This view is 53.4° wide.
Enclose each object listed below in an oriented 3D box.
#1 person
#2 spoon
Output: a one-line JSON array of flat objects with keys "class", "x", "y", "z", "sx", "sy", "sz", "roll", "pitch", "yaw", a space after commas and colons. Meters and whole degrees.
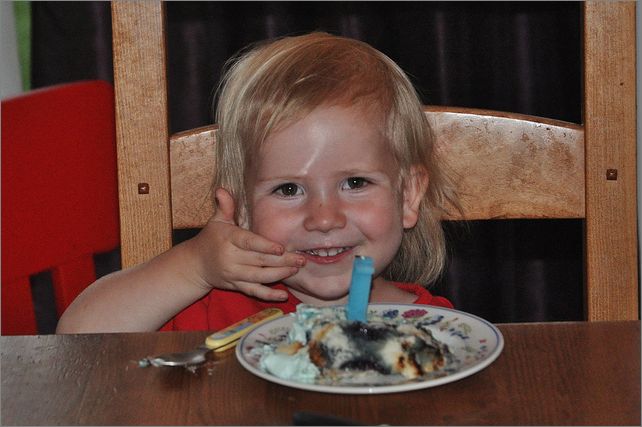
[{"class": "person", "x": -0.157, "y": -0.068, "z": 1.853, "sx": 1.082, "sy": 1.209, "sz": 0.520, "roll": 5, "pitch": -10, "yaw": -17}, {"class": "spoon", "x": -0.204, "y": 0.251, "z": 1.343, "sx": 0.092, "sy": 0.048, "sz": 0.383, "roll": 1, "pitch": 17, "yaw": 42}]
